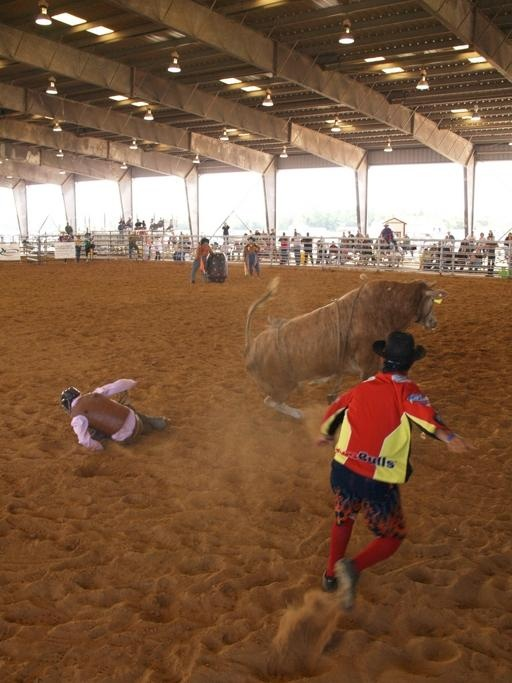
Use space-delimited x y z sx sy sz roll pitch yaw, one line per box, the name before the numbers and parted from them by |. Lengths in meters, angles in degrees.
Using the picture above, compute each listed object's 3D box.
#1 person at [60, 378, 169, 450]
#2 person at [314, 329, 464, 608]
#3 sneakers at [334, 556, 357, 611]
person | -1.282 0.679 4.673 0.750 0.568 0.241 25 -40 -12
person | 0.555 0.633 2.337 0.549 1.316 0.582 -2 9 5
sneakers | 0.379 1.014 2.293 0.084 0.218 0.102 1 1 44
